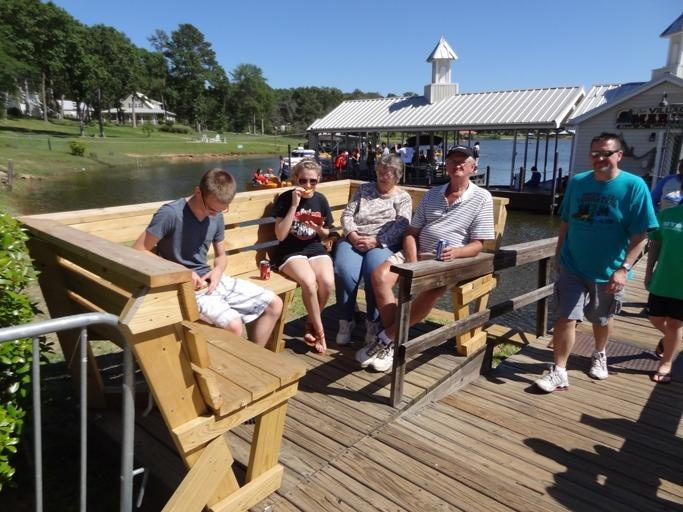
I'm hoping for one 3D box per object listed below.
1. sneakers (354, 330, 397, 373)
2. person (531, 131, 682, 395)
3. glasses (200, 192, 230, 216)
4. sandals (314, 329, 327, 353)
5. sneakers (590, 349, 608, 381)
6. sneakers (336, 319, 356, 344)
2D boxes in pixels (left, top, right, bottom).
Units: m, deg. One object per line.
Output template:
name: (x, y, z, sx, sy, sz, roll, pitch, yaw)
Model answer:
sneakers: (0.318, 0.839, 3.870, 0.247, 0.164, 0.403, 30, 54, 21)
person: (2.080, 0.228, 3.638, 0.670, 1.794, 0.679, 7, 18, 23)
glasses: (-0.875, -0.350, 3.121, 0.155, 0.103, 0.178, -10, 55, -43)
sandals: (-0.186, 0.797, 4.182, 0.092, 0.101, 0.249, -5, 28, 0)
sneakers: (2.279, 0.964, 3.939, 0.121, 0.116, 0.307, 2, 31, 27)
sneakers: (0.040, 0.742, 4.303, 0.113, 0.119, 0.312, 3, 7, 15)
